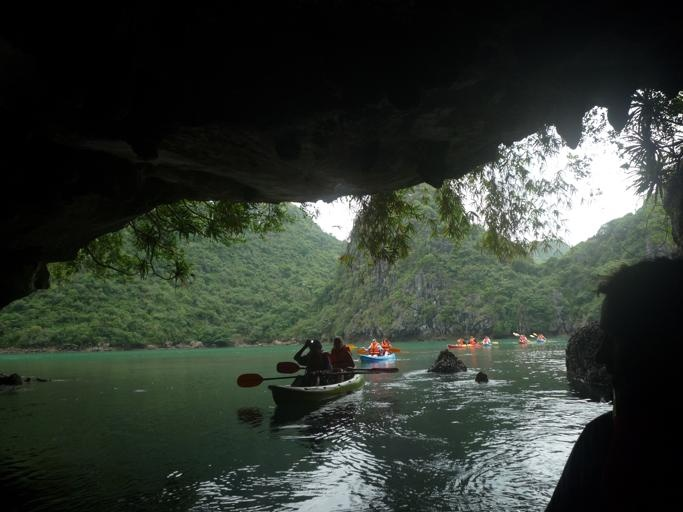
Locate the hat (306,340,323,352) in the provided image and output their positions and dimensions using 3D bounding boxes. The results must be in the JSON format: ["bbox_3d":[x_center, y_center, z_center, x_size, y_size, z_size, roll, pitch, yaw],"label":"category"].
[{"bbox_3d":[-0.824,2.767,14.024,0.365,0.395,0.865,-3,-7,0],"label":"hat"}]
